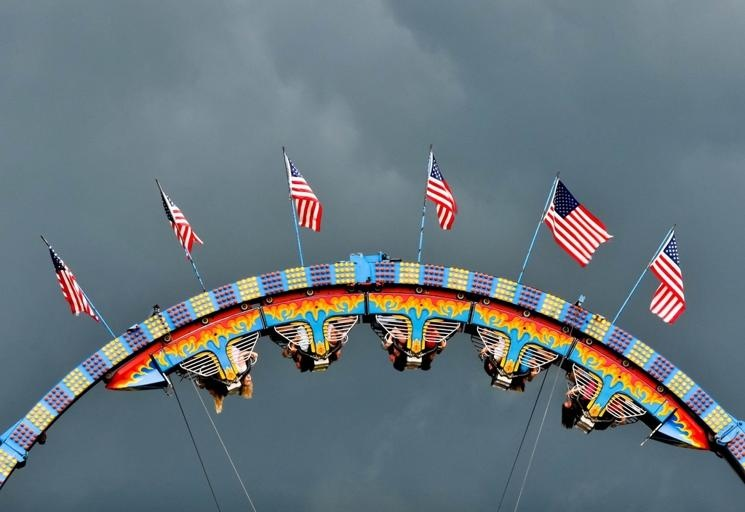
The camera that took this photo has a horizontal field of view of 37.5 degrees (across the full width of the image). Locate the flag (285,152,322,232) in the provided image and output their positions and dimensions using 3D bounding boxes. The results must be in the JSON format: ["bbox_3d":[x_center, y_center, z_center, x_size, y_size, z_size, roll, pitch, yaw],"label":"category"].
[{"bbox_3d":[-4.638,-4.386,71.766,1.946,5.342,0.531,-12,10,35],"label":"flag"}]

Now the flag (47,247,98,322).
[{"bbox_3d":[-19.602,1.240,69.715,0.763,5.796,1.414,-30,3,-41],"label":"flag"}]

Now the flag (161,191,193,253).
[{"bbox_3d":[-10.753,-1.804,61.177,1.309,3.667,1.160,-10,0,-37],"label":"flag"}]
